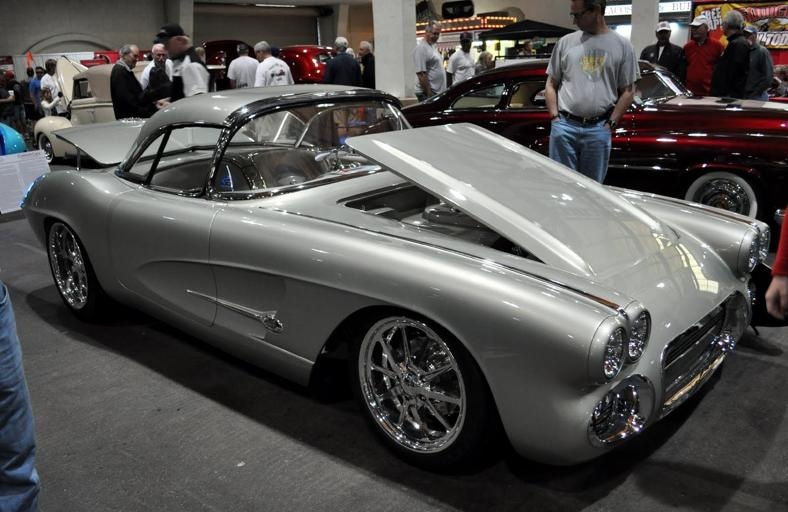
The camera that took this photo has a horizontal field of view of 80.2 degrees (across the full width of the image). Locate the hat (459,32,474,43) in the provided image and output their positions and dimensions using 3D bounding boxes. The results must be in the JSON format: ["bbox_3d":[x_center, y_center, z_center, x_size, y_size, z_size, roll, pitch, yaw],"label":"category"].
[{"bbox_3d":[1.410,-4.308,9.253,0.280,0.147,0.392,4,26,17],"label":"hat"}]

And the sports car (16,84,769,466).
[{"bbox_3d":[-0.376,0.065,3.217,4.305,1.382,2.214,13,27,29],"label":"sports car"}]

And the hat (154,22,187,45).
[{"bbox_3d":[-2.649,-2.627,5.529,0.327,0.184,0.225,-5,36,-14],"label":"hat"}]

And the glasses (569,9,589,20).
[{"bbox_3d":[1.714,-2.221,4.300,0.113,0.033,0.111,-39,32,-19],"label":"glasses"}]
